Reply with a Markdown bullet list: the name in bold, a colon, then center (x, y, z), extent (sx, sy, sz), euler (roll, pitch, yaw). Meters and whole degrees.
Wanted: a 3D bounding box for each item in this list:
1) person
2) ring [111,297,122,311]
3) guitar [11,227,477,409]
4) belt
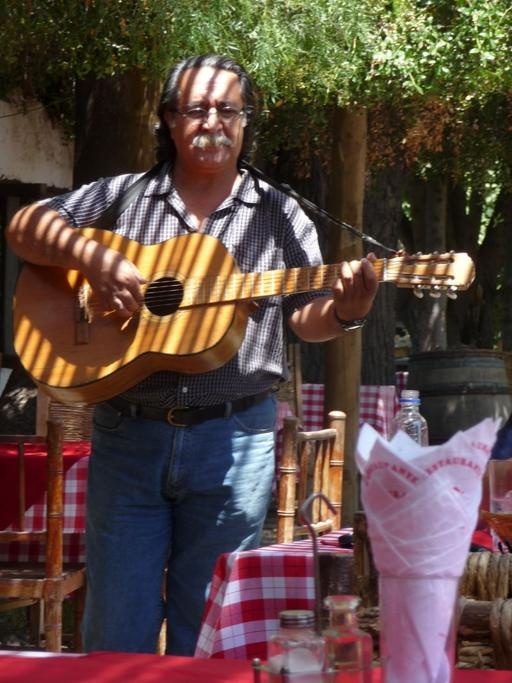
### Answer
- **person**: center (-0.177, 0.013, 2.320), extent (0.989, 1.029, 0.488), euler (4, 2, 16)
- **ring**: center (-0.346, -0.096, 2.297), extent (0.028, 0.026, 0.007), euler (16, 20, 35)
- **guitar**: center (-0.120, -0.050, 2.341), extent (1.274, 0.439, 0.167), euler (-6, -21, 11)
- **belt**: center (-0.167, 0.168, 2.264), extent (0.229, 0.035, 0.127), euler (-11, 3, 9)
